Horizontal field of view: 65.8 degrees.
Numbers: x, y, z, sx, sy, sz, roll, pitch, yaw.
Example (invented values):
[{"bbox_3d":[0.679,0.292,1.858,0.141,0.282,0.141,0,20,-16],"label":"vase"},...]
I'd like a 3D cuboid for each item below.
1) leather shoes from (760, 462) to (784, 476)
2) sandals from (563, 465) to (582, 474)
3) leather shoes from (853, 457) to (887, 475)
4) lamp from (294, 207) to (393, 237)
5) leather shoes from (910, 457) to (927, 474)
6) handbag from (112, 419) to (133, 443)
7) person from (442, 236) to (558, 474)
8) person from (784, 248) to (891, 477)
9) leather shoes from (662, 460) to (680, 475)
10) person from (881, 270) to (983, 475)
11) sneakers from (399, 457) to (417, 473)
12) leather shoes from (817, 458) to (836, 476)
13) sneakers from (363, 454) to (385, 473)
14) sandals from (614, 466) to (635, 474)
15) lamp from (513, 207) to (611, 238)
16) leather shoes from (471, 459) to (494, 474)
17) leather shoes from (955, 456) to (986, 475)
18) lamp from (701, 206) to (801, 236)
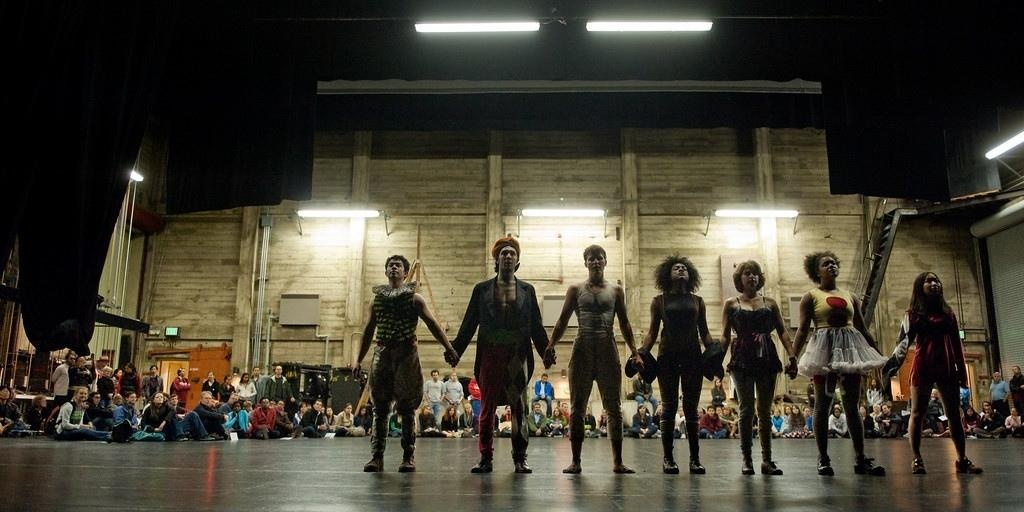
[{"bbox_3d":[3.930,3.208,12.008,0.306,0.200,0.263,-2,-13,14],"label":"leather shoes"},{"bbox_3d":[0.918,3.243,12.119,0.292,0.157,0.315,1,-12,2],"label":"sandals"},{"bbox_3d":[5.330,3.188,11.940,0.219,0.203,0.530,5,-16,-17],"label":"leather shoes"},{"bbox_3d":[-5.242,-1.137,24.920,3.197,0.793,0.865,0,4,5],"label":"lamp"},{"bbox_3d":[6.125,3.162,11.951,0.190,0.232,0.265,-5,-14,24],"label":"leather shoes"},{"bbox_3d":[-8.328,3.749,16.955,0.463,0.501,0.494,1,-32,-6],"label":"handbag"},{"bbox_3d":[-0.134,1.437,12.219,1.459,3.719,0.875,3,-14,-3],"label":"person"},{"bbox_3d":[4.957,1.531,12.102,1.197,3.526,0.974,-4,-15,20],"label":"person"},{"bbox_3d":[2.419,3.207,12.062,0.240,0.198,0.284,-1,-13,10],"label":"leather shoes"},{"bbox_3d":[6.413,1.715,12.163,1.043,3.142,1.110,-6,-16,27],"label":"person"},{"bbox_3d":[-1.598,3.179,12.110,0.257,0.219,0.289,3,-13,-7],"label":"sneakers"},{"bbox_3d":[4.709,3.165,11.910,0.224,0.255,0.280,-4,-14,20],"label":"leather shoes"},{"bbox_3d":[-2.107,3.162,12.092,0.284,0.250,0.229,4,-13,-11],"label":"sneakers"},{"bbox_3d":[1.714,3.257,12.110,0.336,0.103,0.252,1,-12,2],"label":"sandals"},{"bbox_3d":[1.677,-0.869,24.977,2.530,0.509,1.032,0,-8,1],"label":"lamp"},{"bbox_3d":[-0.462,3.196,12.083,0.336,0.206,0.270,2,-13,-2],"label":"leather shoes"},{"bbox_3d":[6.878,3.157,11.920,0.225,0.146,0.379,1,-16,-4],"label":"leather shoes"},{"bbox_3d":[7.543,-0.909,24.957,2.612,0.561,0.968,1,5,0],"label":"lamp"}]
